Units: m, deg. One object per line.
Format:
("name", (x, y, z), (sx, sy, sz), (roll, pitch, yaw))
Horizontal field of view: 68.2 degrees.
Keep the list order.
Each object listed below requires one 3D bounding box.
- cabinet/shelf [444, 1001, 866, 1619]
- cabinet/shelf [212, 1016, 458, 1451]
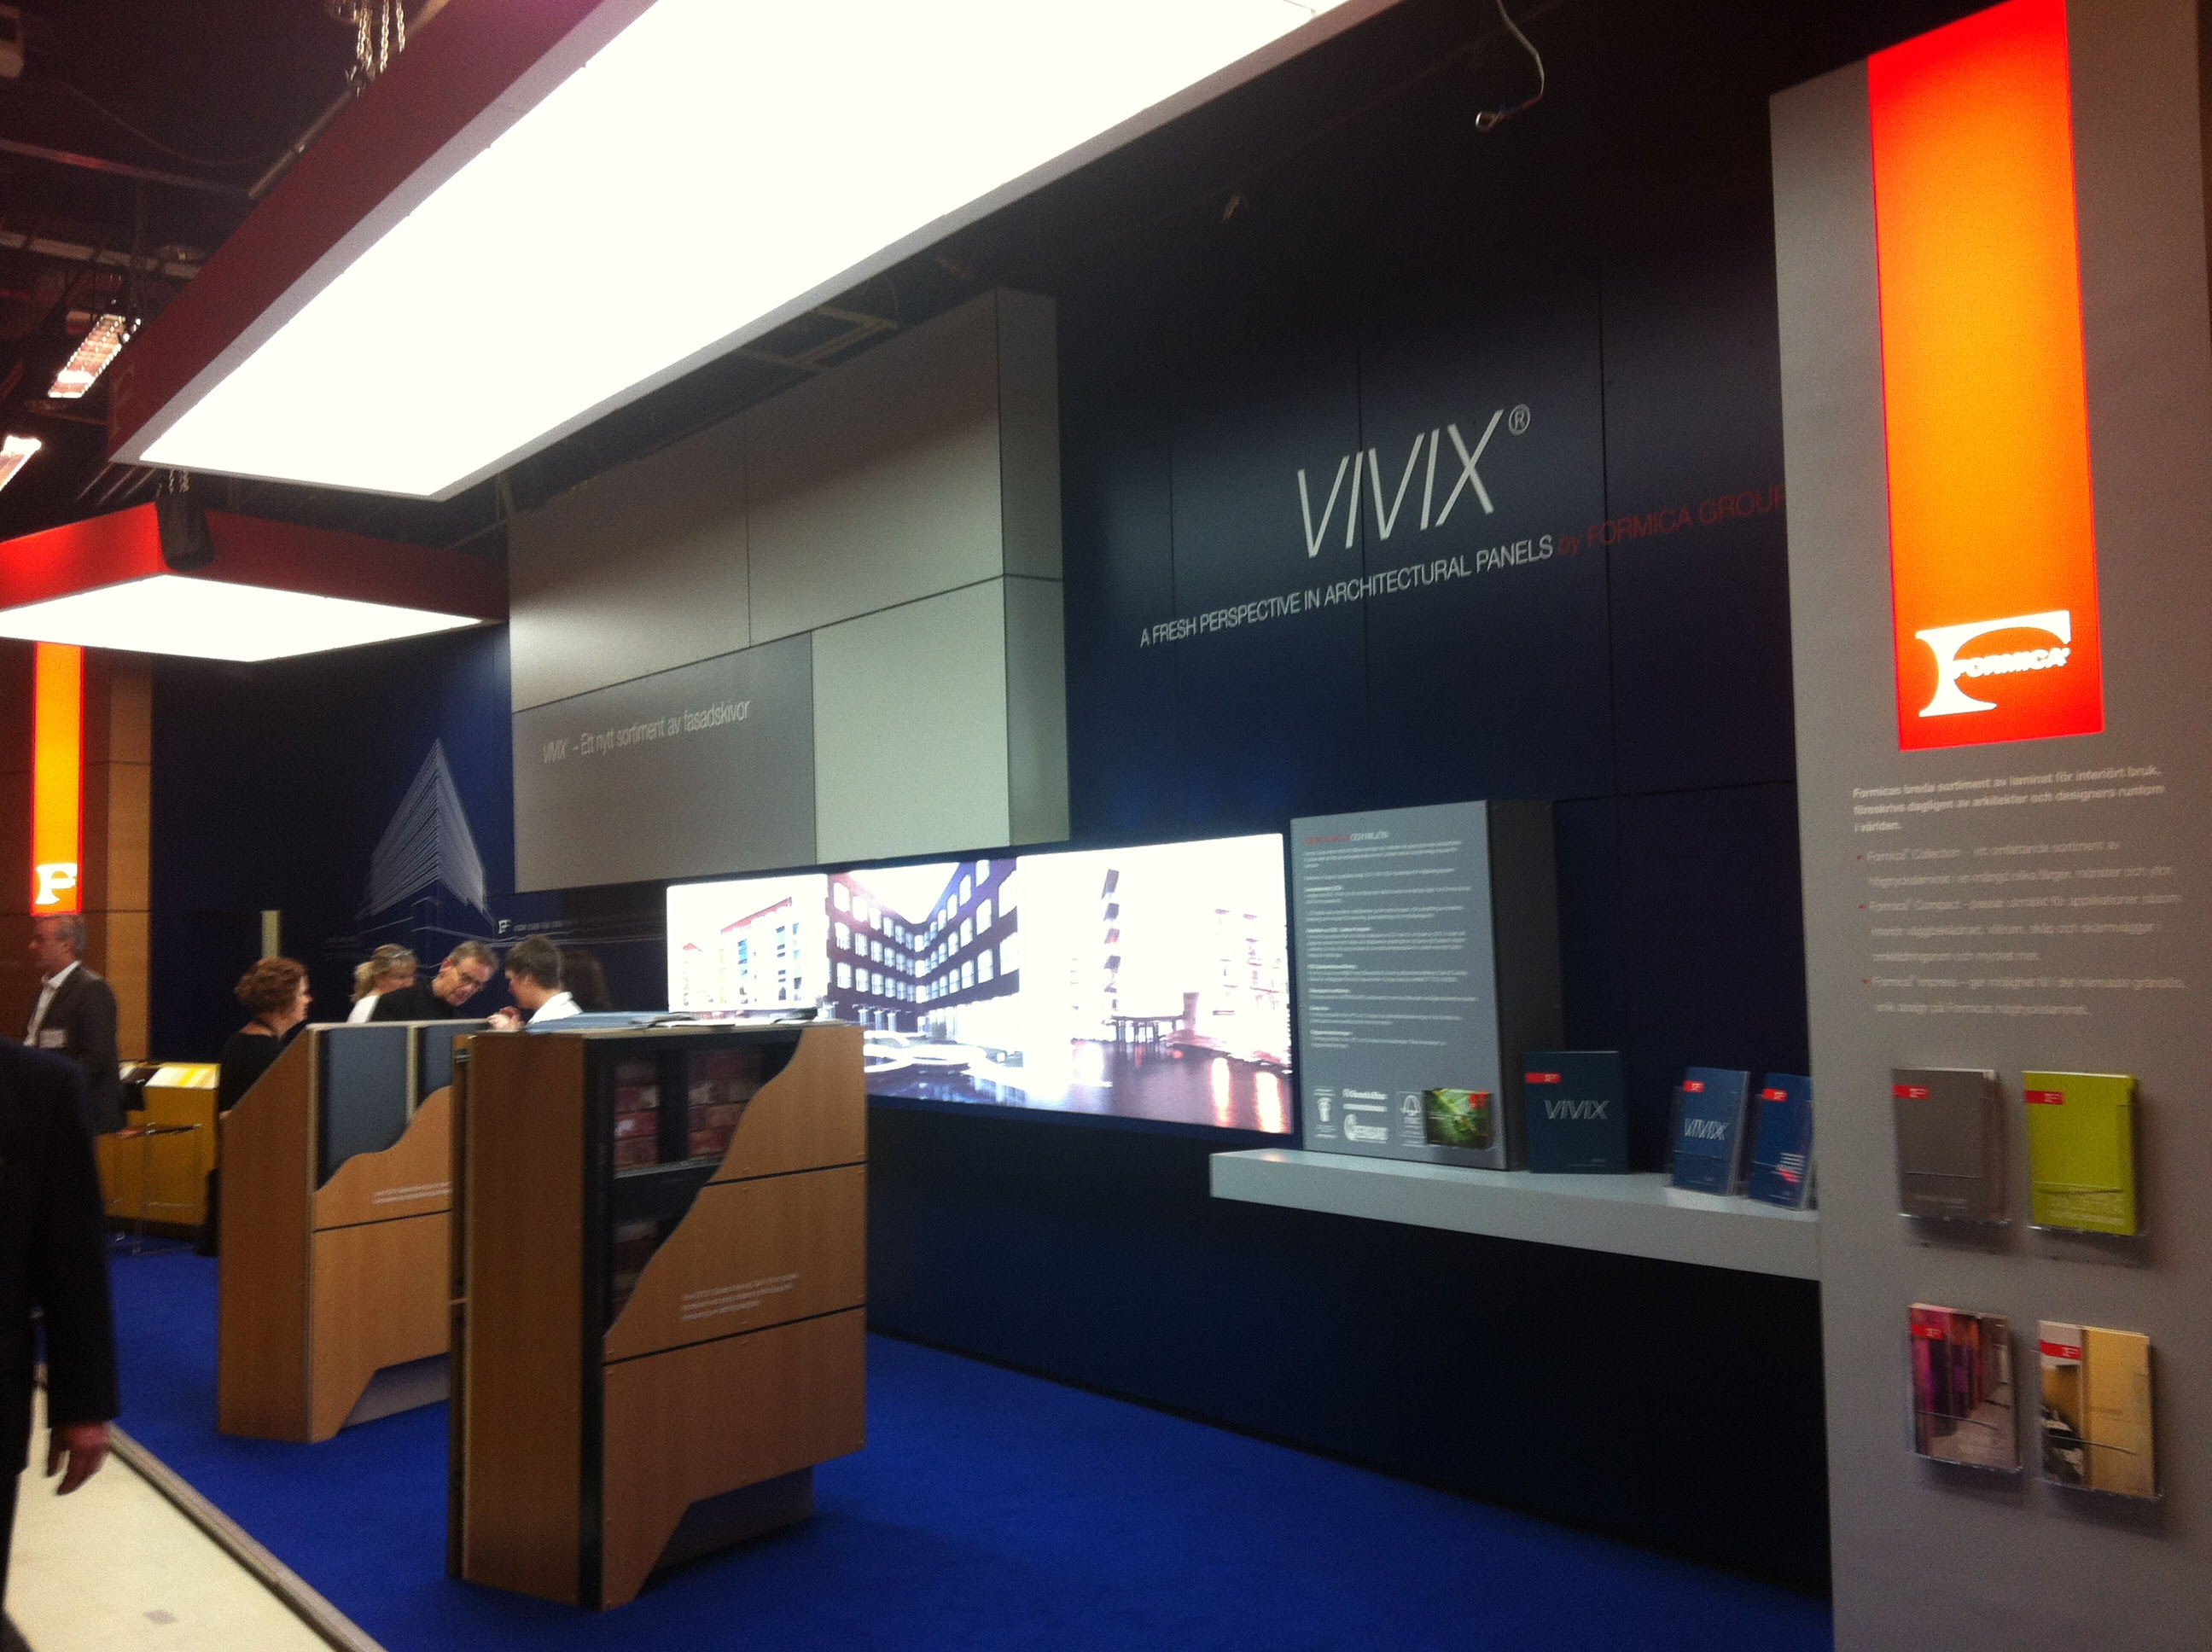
("cabinet/shelf", (-1.281, 1.292, 4.713), (0.743, 1.498, 1.019), (-5, -7, 37))
("cabinet/shelf", (-2.661, 1.417, 6.093), (0.429, 1.372, 1.335), (-6, -7, 13))
